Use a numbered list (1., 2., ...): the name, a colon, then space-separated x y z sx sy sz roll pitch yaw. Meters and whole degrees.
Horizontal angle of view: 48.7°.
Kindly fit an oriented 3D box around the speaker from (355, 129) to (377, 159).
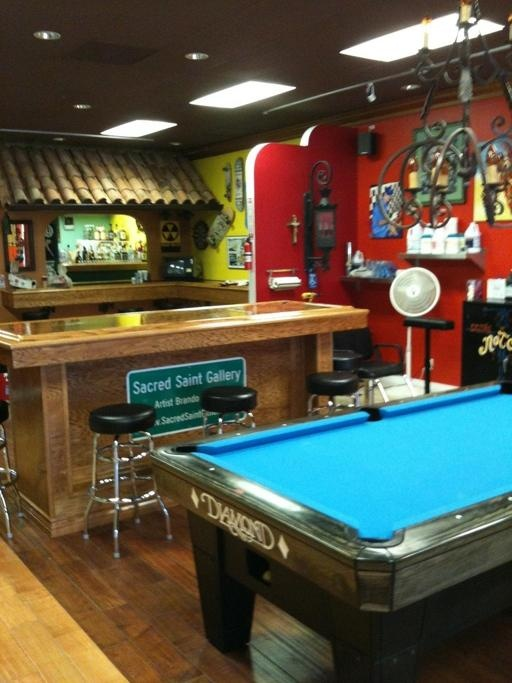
1. speaker: 1.202 -2.196 6.237 0.226 0.289 0.304 -5 5 -30

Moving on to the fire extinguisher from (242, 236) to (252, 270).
1. fire extinguisher: -0.082 -0.940 5.963 0.079 0.353 0.192 -3 5 -6

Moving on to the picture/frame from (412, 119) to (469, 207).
1. picture/frame: 1.659 -1.715 5.589 0.786 0.998 0.074 3 -26 26

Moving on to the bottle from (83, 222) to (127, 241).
1. bottle: -2.689 -1.941 10.019 0.383 0.323 0.769 2 6 42

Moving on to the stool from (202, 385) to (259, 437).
1. stool: -0.162 0.446 3.269 0.328 0.310 0.310 -3 1 18

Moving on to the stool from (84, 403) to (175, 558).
1. stool: -0.734 0.737 3.061 0.509 0.644 0.462 -2 -7 -20

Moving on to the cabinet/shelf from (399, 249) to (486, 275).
1. cabinet/shelf: 1.825 -0.789 5.672 0.433 0.233 0.893 -5 5 -33

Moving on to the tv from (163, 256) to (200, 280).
1. tv: -1.132 -1.088 8.580 0.565 0.358 0.388 0 -14 4

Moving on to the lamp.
1. lamp: 0.689 -1.237 6.123 0.369 1.365 0.720 -2 5 8

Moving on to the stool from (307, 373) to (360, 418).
1. stool: 0.490 0.368 3.706 0.363 0.345 0.331 2 15 13
